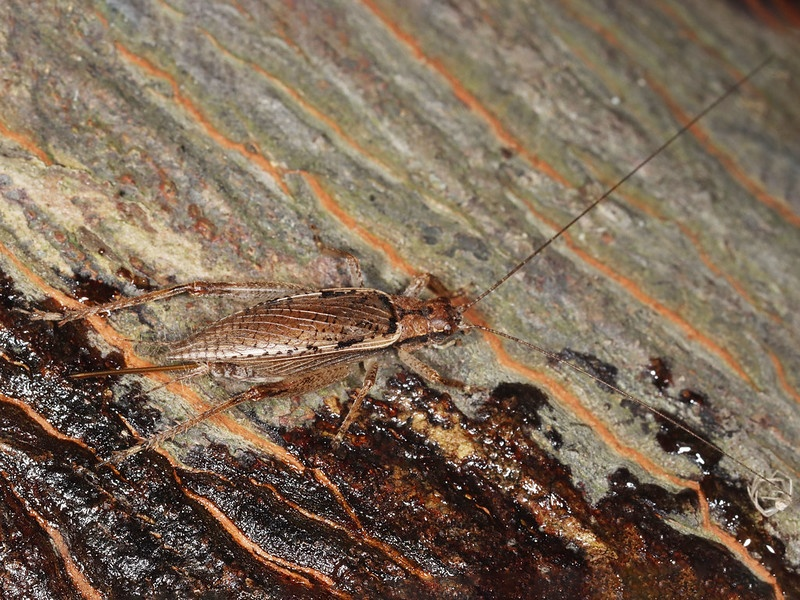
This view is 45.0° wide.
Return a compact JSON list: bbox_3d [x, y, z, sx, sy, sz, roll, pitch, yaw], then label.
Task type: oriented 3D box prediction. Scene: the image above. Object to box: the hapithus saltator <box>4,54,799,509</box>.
[{"bbox_3d":[-0.111,0.279,8.105,1.170,5.573,3.123,112,-32,-68],"label":"hapithus saltator"}]
